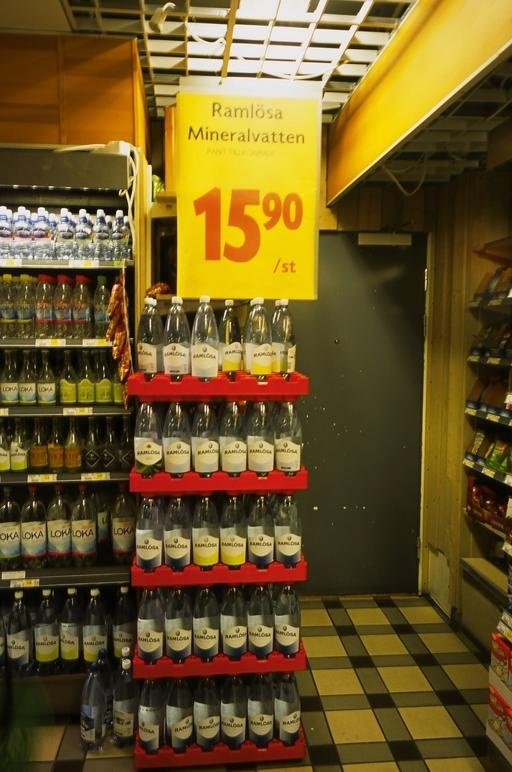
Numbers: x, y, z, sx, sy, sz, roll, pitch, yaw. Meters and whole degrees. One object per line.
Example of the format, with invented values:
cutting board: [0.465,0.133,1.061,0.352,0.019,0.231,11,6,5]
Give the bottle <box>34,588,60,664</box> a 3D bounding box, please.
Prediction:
bottle: [-0.948,1.101,2.806,0.105,0.299,0.079,-1,3,-30]

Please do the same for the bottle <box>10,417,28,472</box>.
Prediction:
bottle: [-1.073,0.273,2.812,0.077,0.219,0.128,0,4,-21]

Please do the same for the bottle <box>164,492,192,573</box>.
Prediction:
bottle: [-0.302,0.548,2.366,0.103,0.254,0.188,0,4,-8]

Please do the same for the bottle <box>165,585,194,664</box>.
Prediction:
bottle: [-0.297,0.893,2.358,0.100,0.249,0.143,0,3,-8]

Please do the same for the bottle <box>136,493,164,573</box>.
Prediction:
bottle: [-0.398,0.549,2.327,0.103,0.261,0.103,1,3,0]

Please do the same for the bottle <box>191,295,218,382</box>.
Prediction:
bottle: [-0.193,-0.177,2.359,0.095,0.302,0.244,1,4,-2]

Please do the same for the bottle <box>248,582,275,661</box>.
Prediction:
bottle: [0.016,0.884,2.377,0.102,0.249,0.162,1,3,-1]

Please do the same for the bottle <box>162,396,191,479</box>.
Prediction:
bottle: [-0.304,0.193,2.355,0.109,0.256,0.217,0,4,-7]

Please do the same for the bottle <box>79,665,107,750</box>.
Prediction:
bottle: [-0.670,1.298,2.547,0.094,0.305,0.140,0,3,-19]

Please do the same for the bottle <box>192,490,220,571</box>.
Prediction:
bottle: [-0.192,0.545,2.346,0.103,0.249,0.141,1,3,-4]

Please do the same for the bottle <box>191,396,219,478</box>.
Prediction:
bottle: [-0.194,0.195,2.345,0.103,0.257,0.179,1,3,-6]

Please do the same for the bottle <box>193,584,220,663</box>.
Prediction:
bottle: [-0.189,0.885,2.343,0.101,0.257,0.115,1,3,-6]

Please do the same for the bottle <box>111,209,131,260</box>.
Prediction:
bottle: [-0.598,-0.655,2.767,0.085,0.226,0.176,0,4,-16]

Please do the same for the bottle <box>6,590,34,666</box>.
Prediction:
bottle: [-1.078,1.107,2.820,0.113,0.319,0.145,-1,3,-24]

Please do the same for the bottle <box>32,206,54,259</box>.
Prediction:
bottle: [-0.944,-0.656,2.745,0.090,0.238,0.155,0,4,-20]

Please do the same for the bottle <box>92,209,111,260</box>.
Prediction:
bottle: [-0.691,-0.658,2.785,0.073,0.230,0.194,0,4,-14]

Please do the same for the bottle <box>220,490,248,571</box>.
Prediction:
bottle: [-0.088,0.542,2.368,0.103,0.246,0.175,1,3,-2]

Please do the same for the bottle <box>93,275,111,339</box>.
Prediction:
bottle: [-0.704,-0.351,2.820,0.072,0.279,0.295,0,4,-15]

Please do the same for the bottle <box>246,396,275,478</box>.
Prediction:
bottle: [0.015,0.198,2.350,0.102,0.262,0.134,1,3,-1]

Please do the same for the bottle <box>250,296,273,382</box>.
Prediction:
bottle: [0.018,-0.180,2.377,0.081,0.298,0.213,1,3,-1]

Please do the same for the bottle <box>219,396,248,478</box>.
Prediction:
bottle: [-0.088,0.194,2.337,0.104,0.268,0.134,1,3,-3]

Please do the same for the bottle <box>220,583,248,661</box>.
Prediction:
bottle: [-0.083,0.890,2.351,0.099,0.242,0.105,1,3,0]

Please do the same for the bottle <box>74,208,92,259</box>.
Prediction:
bottle: [-0.782,-0.670,2.810,0.081,0.212,0.115,0,3,-18]

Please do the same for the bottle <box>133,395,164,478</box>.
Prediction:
bottle: [-0.405,0.196,2.337,0.103,0.260,0.137,0,3,-11]

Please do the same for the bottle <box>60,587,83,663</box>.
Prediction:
bottle: [-0.841,1.094,2.808,0.095,0.311,0.080,0,3,-21]
